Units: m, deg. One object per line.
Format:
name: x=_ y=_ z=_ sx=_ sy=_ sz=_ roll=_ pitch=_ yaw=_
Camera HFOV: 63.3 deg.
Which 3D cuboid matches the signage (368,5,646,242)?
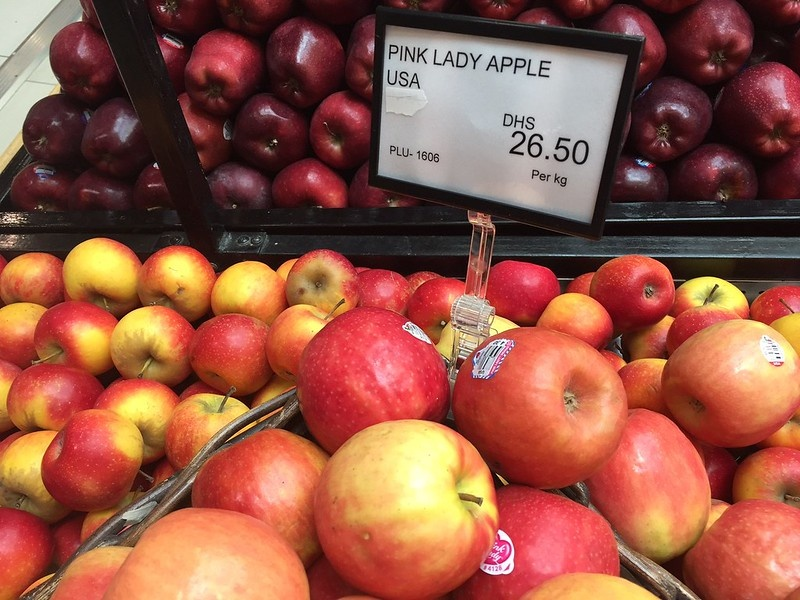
signage: x=0.224 y=-0.377 z=1.436 sx=0.614 sy=0.525 sz=0.052 roll=19 pitch=27 yaw=22
